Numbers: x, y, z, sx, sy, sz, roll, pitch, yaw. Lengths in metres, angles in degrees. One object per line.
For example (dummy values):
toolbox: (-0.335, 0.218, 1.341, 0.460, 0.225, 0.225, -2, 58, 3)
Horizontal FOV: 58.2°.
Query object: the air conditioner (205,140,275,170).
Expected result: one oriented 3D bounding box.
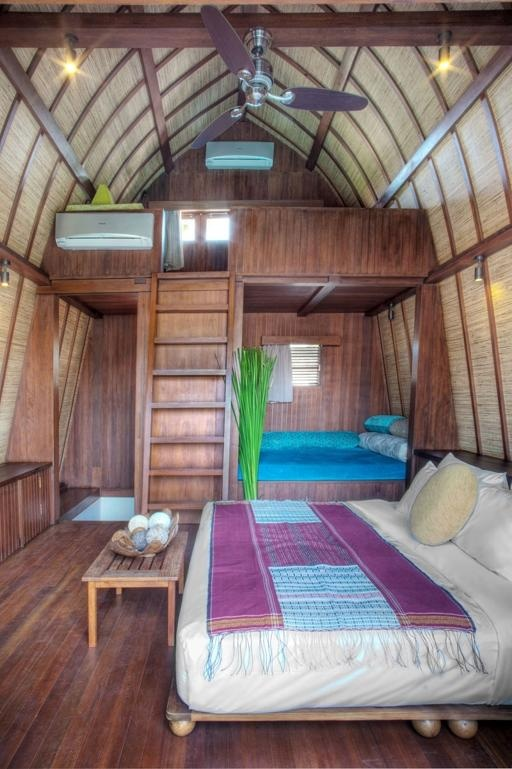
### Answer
air conditioner: (-0.175, -2.650, 5.328, 0.730, 0.334, 0.207, -1, 37, -4)
